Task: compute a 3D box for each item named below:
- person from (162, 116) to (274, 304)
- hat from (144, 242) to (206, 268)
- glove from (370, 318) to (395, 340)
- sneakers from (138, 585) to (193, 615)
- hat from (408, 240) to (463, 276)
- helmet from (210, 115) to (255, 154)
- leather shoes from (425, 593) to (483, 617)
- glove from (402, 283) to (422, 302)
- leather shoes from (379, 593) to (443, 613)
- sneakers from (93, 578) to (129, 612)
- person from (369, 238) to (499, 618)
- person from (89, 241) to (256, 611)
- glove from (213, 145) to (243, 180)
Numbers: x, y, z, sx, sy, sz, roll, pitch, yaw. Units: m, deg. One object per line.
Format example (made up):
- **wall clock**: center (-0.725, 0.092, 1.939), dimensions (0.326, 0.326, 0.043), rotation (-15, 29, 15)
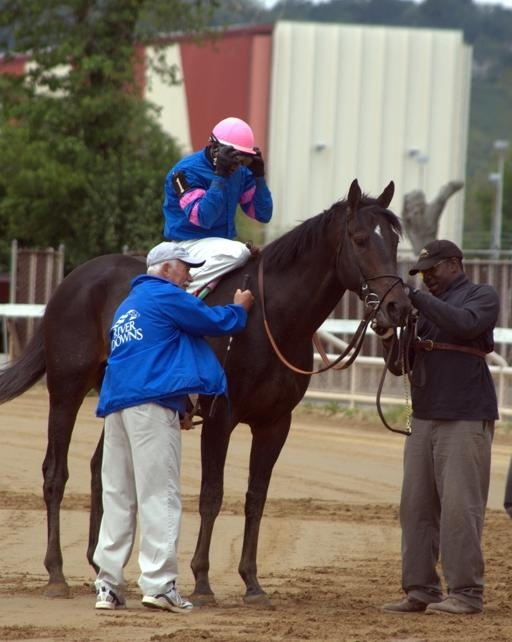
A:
- **person**: center (-0.255, -0.673, 13.205), dimensions (0.717, 1.746, 0.808), rotation (-4, 5, -34)
- **hat**: center (-0.570, -0.452, 12.391), dimensions (0.295, 0.160, 0.204), rotation (2, 1, -5)
- **glove**: center (0.921, 0.065, 12.350), dimensions (0.119, 0.074, 0.161), rotation (36, -6, 1)
- **sneakers**: center (-0.605, 1.979, 12.159), dimensions (0.352, 0.193, 0.158), rotation (13, 0, -32)
- **hat**: center (1.332, -0.467, 12.672), dimensions (0.334, 0.220, 0.235), rotation (-9, 0, -15)
- **helmet**: center (-0.154, -1.379, 13.079), dimensions (0.227, 0.174, 0.307), rotation (14, 13, -46)
- **leather shoes**: center (1.440, 2.034, 12.267), dimensions (0.317, 0.146, 0.157), rotation (5, -16, 5)
- **glove**: center (1.127, -0.214, 12.415), dimensions (0.104, 0.144, 0.123), rotation (16, -37, -34)
- **leather shoes**: center (1.131, 2.014, 12.484), dimensions (0.399, 0.192, 0.143), rotation (4, -6, -5)
- **sneakers**: center (-1.016, 1.951, 12.298), dimensions (0.109, 0.161, 0.329), rotation (0, -5, 7)
- **person**: center (1.340, 0.759, 12.521), dimensions (0.838, 2.609, 0.858), rotation (2, 7, 8)
- **person**: center (-0.663, 0.756, 12.232), dimensions (0.907, 2.555, 0.708), rotation (0, 7, -6)
- **glove**: center (-0.191, -1.165, 12.850), dimensions (0.163, 0.219, 0.229), rotation (1, -17, -5)
